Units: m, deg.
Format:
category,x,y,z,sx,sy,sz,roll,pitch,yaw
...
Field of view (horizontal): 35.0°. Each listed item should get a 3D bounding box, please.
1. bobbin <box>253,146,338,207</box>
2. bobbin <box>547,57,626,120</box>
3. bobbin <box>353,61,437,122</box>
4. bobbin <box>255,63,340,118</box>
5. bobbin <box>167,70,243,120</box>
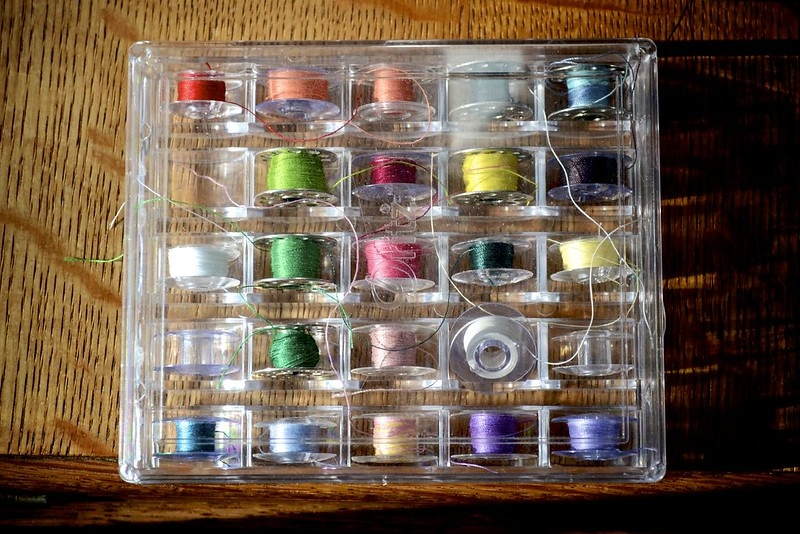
category,x,y,z,sx,sy,sz,roll,pitch,yaw
bobbin,-0.575,-0.484,6.833,0.432,0.208,0.301,-2,83,2
bobbin,1.034,-0.931,6.952,0.418,0.385,0.212,4,97,17
bobbin,-0.046,-0.940,6.976,0.403,0.359,0.158,-1,80,8
bobbin,-0.552,-0.940,6.951,0.370,0.328,0.146,0,83,-1
bobbin,-1.070,-0.924,6.875,0.332,0.307,0.124,5,78,-29
